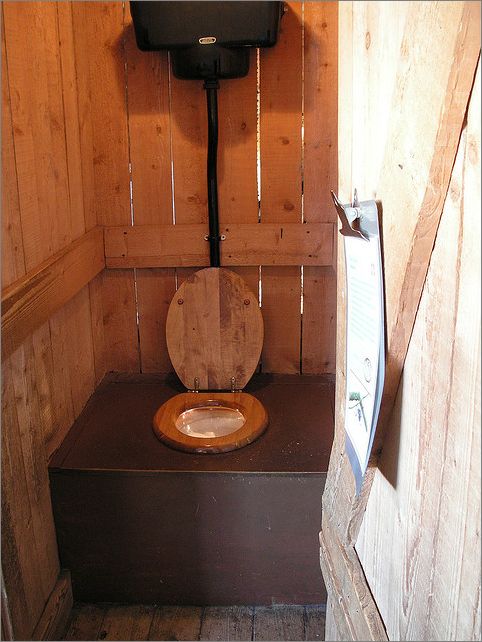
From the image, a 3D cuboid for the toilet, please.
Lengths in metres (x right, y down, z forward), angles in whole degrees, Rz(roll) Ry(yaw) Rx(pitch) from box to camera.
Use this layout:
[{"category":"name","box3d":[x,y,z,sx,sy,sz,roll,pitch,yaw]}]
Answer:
[{"category":"toilet","box3d":[-0.101,0.123,1.733,0.376,0.488,0.497,0,19,0]}]
